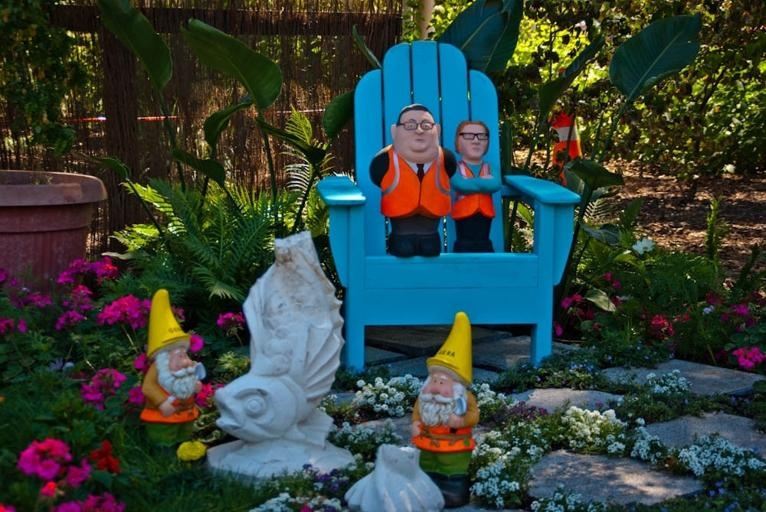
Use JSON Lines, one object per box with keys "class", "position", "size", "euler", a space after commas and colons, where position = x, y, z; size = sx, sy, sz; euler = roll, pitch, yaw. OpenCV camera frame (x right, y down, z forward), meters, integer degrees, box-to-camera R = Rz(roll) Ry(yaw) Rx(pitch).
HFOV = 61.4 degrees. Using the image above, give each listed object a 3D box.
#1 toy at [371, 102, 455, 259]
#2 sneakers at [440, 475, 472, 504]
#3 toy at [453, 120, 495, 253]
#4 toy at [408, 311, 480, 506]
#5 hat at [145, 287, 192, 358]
{"class": "toy", "position": [0.183, -0.486, 4.227], "size": [0.558, 0.976, 0.240], "euler": [6, 8, 6]}
{"class": "sneakers", "position": [0.331, 1.070, 2.973], "size": [0.101, 0.111, 0.137], "euler": [1, 5, 6]}
{"class": "toy", "position": [0.637, -0.478, 4.497], "size": [0.339, 0.917, 0.356], "euler": [7, 8, 9]}
{"class": "toy", "position": [0.290, 0.697, 2.953], "size": [0.293, 0.866, 0.190], "euler": [6, 8, 4]}
{"class": "hat", "position": [-1.066, 0.337, 3.202], "size": [0.189, 0.337, 0.183], "euler": [2, 9, -22]}
